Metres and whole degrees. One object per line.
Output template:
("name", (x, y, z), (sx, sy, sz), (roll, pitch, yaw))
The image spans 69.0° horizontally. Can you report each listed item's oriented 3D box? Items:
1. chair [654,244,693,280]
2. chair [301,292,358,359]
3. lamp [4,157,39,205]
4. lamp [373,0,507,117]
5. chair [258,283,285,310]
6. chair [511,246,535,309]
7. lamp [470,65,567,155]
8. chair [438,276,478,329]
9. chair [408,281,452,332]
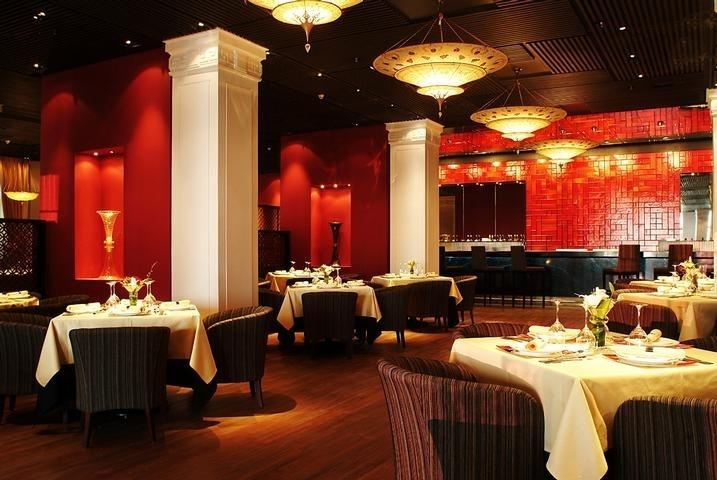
("chair", (6.525, 0.431, 10.749), (0.625, 0.740, 0.751), (1, 3, 13))
("chair", (-0.400, 1.133, 7.213), (0.929, 1.018, 0.867), (1, 2, -1))
("lamp", (-10.066, -1.807, 15.467), (0.925, 1.364, 2.814), (-1, 3, -29))
("lamp", (1.106, -2.241, 6.730), (1.329, 1.208, 1.281), (0, -2, 22))
("chair", (-1.282, 0.851, 7.638), (0.396, 0.379, 0.327), (-1, -2, -3))
("chair", (3.848, 0.830, 12.358), (0.485, 1.384, 0.872), (2, 4, 17))
("lamp", (2.810, -2.267, 9.316), (1.232, 1.081, 1.203), (0, 1, 22))
("chair", (1.889, 1.127, 9.609), (0.913, 1.124, 0.968), (1, -4, -4))
("chair", (1.160, 1.078, 8.647), (0.849, 0.897, 0.815), (0, 0, -9))
